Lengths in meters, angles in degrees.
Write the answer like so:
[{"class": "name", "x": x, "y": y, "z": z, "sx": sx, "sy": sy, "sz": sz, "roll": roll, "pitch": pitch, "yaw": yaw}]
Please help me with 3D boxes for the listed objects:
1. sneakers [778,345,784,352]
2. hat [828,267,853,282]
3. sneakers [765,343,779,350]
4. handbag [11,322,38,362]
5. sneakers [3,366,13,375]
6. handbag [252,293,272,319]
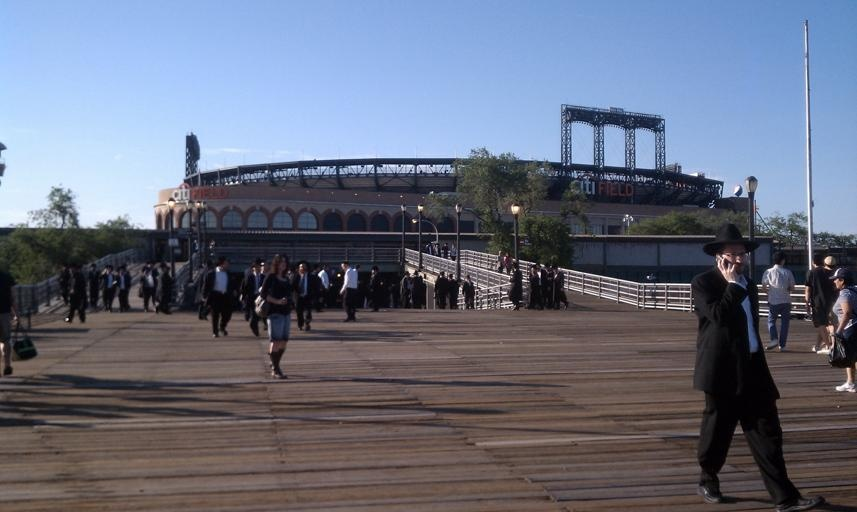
[{"class": "sneakers", "x": 8.613, "y": 2.251, "z": 25.458, "sx": 0.125, "sy": 0.088, "sz": 0.124, "roll": -1, "pitch": 1, "yaw": 2}, {"class": "hat", "x": 8.392, "y": 0.375, "z": 21.341, "sx": 0.487, "sy": 0.269, "sz": 0.363, "roll": 4, "pitch": -1, "yaw": 39}, {"class": "sneakers", "x": 8.404, "y": 2.214, "z": 25.613, "sx": 0.145, "sy": 0.172, "sz": 0.419, "roll": -5, "pitch": -12, "yaw": -2}, {"class": "handbag", "x": -9.237, "y": 1.986, "z": 23.950, "sx": 0.387, "sy": 0.950, "sz": 0.653, "roll": -8, "pitch": -22, "yaw": -41}, {"class": "sneakers", "x": -8.773, "y": 2.374, "z": 21.833, "sx": 0.207, "sy": 0.225, "sz": 0.075, "roll": 3, "pitch": 4, "yaw": -41}, {"class": "handbag", "x": -3.499, "y": 1.039, "z": 22.130, "sx": 0.271, "sy": 0.427, "sz": 0.361, "roll": -4, "pitch": 12, "yaw": -15}]
